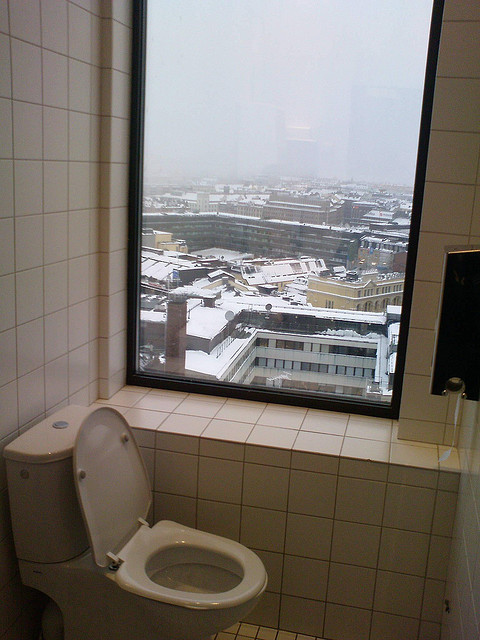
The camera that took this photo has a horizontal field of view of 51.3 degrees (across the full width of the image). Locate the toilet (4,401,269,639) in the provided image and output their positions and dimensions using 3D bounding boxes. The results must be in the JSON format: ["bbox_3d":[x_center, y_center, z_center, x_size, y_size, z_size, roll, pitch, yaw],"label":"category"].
[{"bbox_3d":[-0.277,0.469,1.750,0.821,1.067,0.490,6,18,13],"label":"toilet"}]
